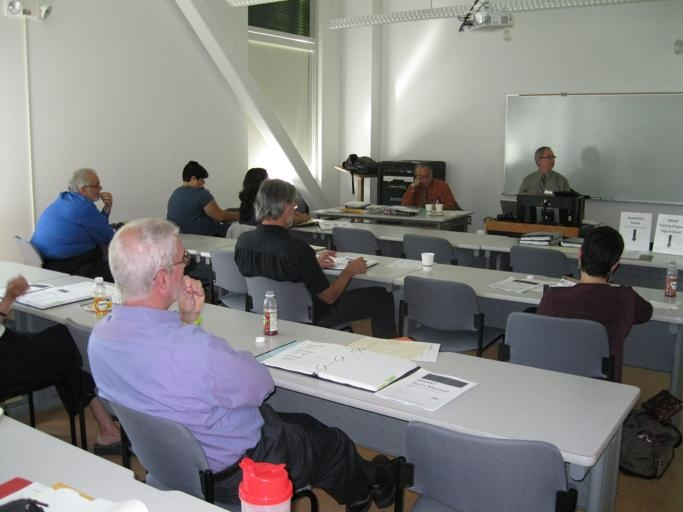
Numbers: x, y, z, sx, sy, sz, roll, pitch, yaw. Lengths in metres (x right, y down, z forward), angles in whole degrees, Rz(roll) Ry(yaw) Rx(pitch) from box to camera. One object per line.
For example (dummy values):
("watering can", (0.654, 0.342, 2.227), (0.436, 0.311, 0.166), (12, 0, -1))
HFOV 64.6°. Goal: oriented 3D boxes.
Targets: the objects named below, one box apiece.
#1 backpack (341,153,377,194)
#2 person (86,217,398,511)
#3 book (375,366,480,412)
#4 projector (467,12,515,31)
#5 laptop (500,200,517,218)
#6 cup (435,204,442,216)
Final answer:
("backpack", (0.267, -1.273, 7.986), (0.457, 0.440, 0.157), (-19, 25, -40))
("person", (-0.371, 0.466, 1.972), (1.007, 1.194, 0.337), (-4, 12, -19))
("book", (0.313, 0.507, 2.070), (0.275, 0.023, 0.250), (4, 17, 40))
("projector", (1.330, -2.114, 4.878), (0.304, 0.104, 0.313), (0, 14, 7))
("laptop", (1.756, -0.502, 5.703), (0.167, 0.173, 0.249), (1, 7, 10))
("cup", (1.171, -0.535, 6.399), (0.115, 0.134, 0.115), (-2, 7, 0))
